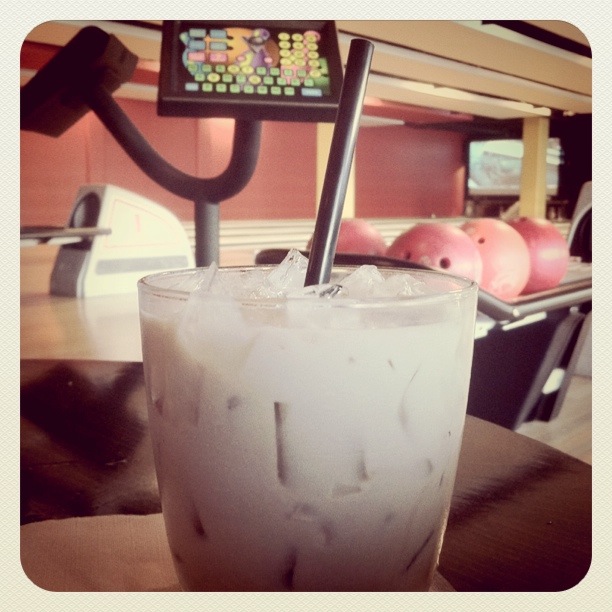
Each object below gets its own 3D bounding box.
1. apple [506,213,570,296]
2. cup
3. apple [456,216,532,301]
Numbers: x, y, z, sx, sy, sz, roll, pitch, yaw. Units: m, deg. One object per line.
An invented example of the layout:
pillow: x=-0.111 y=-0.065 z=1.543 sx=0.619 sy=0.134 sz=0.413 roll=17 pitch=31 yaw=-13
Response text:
apple: x=0.370 y=-0.092 z=0.901 sx=0.109 sy=0.130 sz=0.111 roll=-1 pitch=2 yaw=-8
cup: x=0.004 y=0.082 z=0.384 sx=0.231 sy=0.210 sz=0.204 roll=-1 pitch=12 yaw=-22
apple: x=0.273 y=-0.069 z=0.808 sx=0.104 sy=0.123 sz=0.103 roll=-1 pitch=2 yaw=-18
